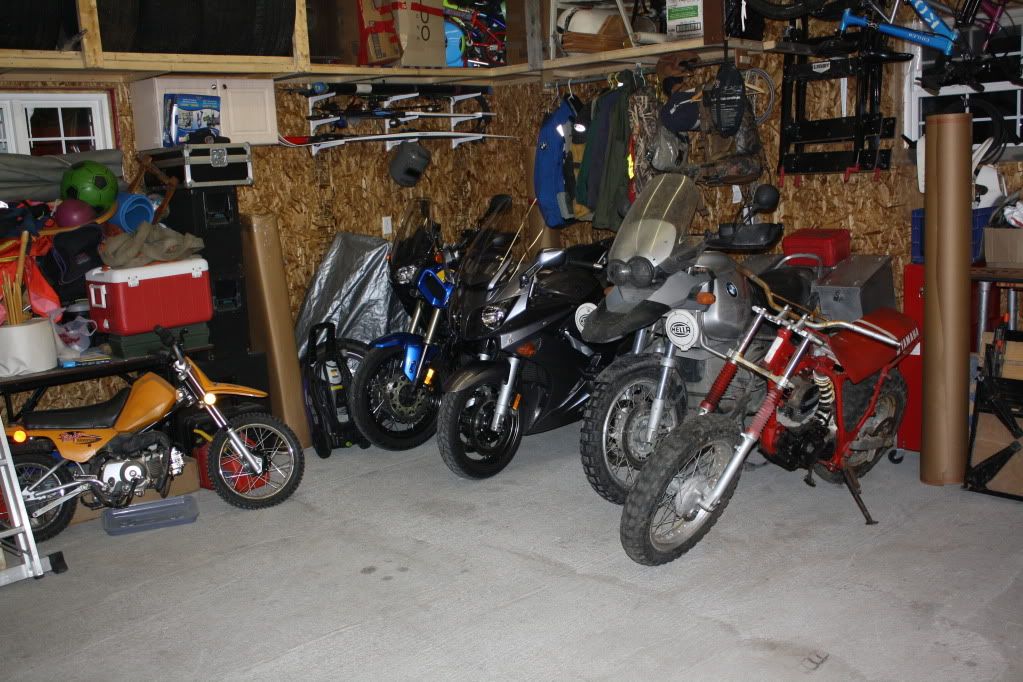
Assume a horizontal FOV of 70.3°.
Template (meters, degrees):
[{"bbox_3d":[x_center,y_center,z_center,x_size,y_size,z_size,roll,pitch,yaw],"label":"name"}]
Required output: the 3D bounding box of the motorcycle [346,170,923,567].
[{"bbox_3d":[1.014,0.237,4.094,2.422,1.545,1.330,-14,14,-28],"label":"motorcycle"}]

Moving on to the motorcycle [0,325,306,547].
[{"bbox_3d":[-1.961,0.558,5.027,2.261,1.469,0.868,-9,19,-27],"label":"motorcycle"}]

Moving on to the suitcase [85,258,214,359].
[{"bbox_3d":[-2.327,-0.220,4.622,0.286,0.443,0.486,19,31,40],"label":"suitcase"}]
